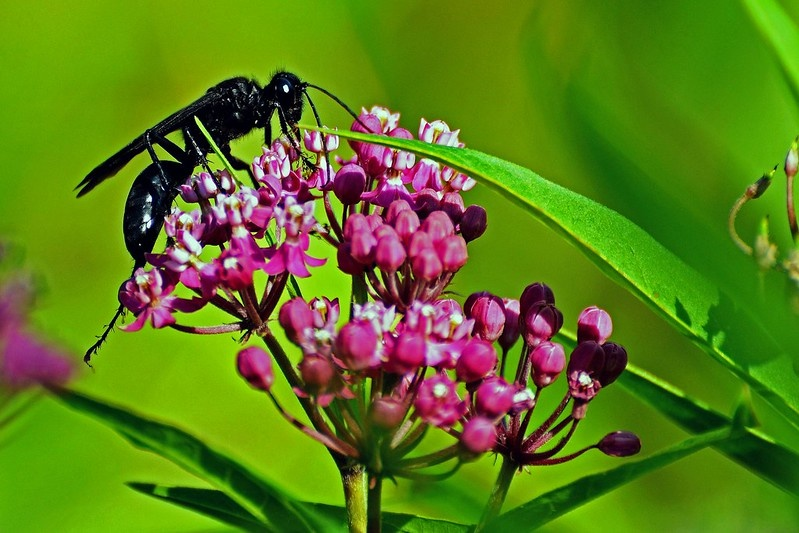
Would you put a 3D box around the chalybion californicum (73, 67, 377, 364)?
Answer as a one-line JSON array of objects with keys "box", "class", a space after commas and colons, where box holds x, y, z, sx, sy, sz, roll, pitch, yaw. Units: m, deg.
[{"box": [-0.651, -0.395, 2.692, 0.633, 1.680, 1.032, -1, 5, -30], "class": "chalybion californicum"}]
